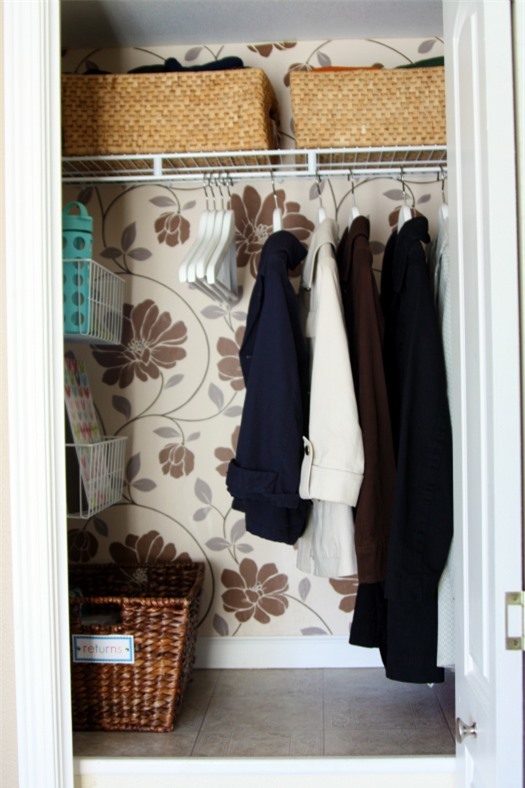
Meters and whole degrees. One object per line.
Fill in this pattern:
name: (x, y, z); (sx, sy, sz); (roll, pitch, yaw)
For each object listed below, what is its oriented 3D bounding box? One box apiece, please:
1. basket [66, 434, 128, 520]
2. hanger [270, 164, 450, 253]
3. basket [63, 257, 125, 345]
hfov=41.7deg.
basket: (-0.452, 0.216, 1.875); (0.123, 0.189, 0.249); (0, -5, 7)
hanger: (0.281, -0.526, 1.942); (0.525, 0.215, 0.046); (-2, 19, -2)
basket: (-0.455, -0.248, 1.856); (0.141, 0.216, 0.429); (-2, 3, -10)
